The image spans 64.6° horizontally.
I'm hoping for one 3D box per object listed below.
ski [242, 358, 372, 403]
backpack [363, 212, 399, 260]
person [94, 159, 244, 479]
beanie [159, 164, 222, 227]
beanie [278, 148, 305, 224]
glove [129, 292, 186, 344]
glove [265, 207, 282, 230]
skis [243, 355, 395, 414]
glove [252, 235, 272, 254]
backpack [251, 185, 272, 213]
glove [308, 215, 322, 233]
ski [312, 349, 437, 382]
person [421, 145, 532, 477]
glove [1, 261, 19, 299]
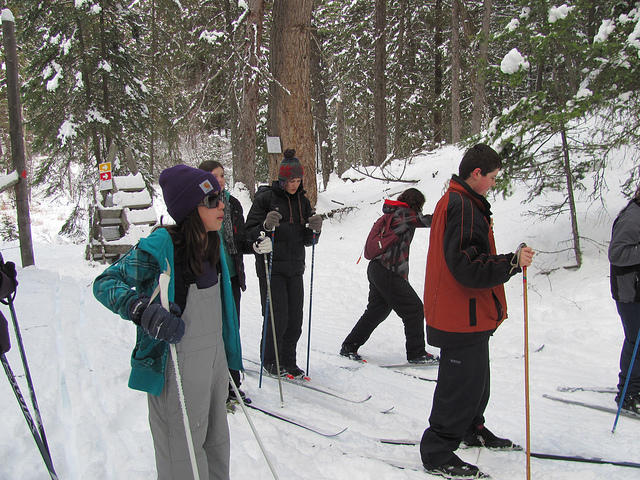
[{"bbox_3d":[-0.197,1.742,6.250,1.982,0.198,0.174,17,-10,19],"label":"ski"},{"bbox_3d":[0.857,-0.062,7.013,0.451,0.696,0.275,5,6,5],"label":"backpack"},{"bbox_3d":[-1.170,0.771,4.160,1.070,2.772,0.630,3,6,-12],"label":"person"},{"bbox_3d":[-1.121,-0.378,4.321,0.491,0.531,0.412,-9,5,-24],"label":"beanie"},{"bbox_3d":[-0.346,-0.687,6.411,0.355,0.937,0.306,4,6,-5],"label":"beanie"},{"bbox_3d":[-1.247,0.590,3.914,0.460,0.397,0.340,13,14,37],"label":"glove"},{"bbox_3d":[-0.568,-0.263,6.071,0.141,0.248,0.135,5,38,-39],"label":"glove"},{"bbox_3d":[-0.045,1.773,6.172,1.608,0.154,0.200,18,5,15],"label":"skis"},{"bbox_3d":[-0.682,0.049,5.933,0.180,0.204,0.240,2,7,-27],"label":"glove"},{"bbox_3d":[-0.733,-0.553,6.482,0.224,0.320,0.297,0,-4,24],"label":"backpack"},{"bbox_3d":[-0.071,-0.209,6.345,0.171,0.213,0.198,5,6,-1],"label":"glove"},{"bbox_3d":[0.739,1.714,6.902,0.999,0.098,0.118,18,-11,29],"label":"ski"},{"bbox_3d":[1.419,0.649,4.831,0.820,3.130,0.541,5,6,3],"label":"person"},{"bbox_3d":[-2.822,0.377,4.590,0.121,0.375,0.381,1,7,-32],"label":"glove"}]
